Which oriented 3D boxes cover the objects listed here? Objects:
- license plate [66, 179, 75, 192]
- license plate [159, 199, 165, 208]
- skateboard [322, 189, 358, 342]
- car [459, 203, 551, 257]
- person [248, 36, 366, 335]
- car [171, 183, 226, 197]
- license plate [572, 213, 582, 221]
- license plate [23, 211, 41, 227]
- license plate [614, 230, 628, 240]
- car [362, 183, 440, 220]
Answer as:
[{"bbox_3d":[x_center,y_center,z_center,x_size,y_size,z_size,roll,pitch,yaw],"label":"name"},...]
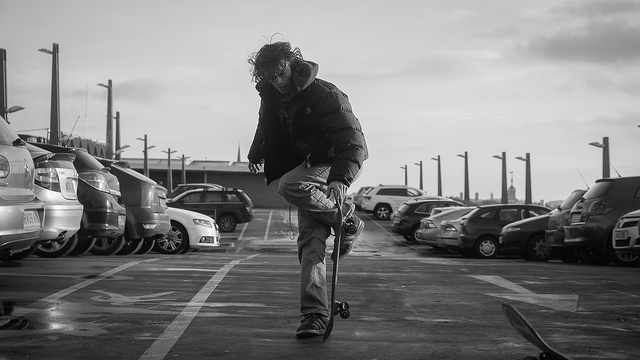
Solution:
[{"bbox_3d":[-4.082,0.093,11.428,0.031,0.208,0.200,2,-2,13],"label":"license plate"},{"bbox_3d":[-3.615,0.544,16.061,0.051,0.143,0.186,1,0,13],"label":"license plate"},{"bbox_3d":[0.326,1.009,7.946,0.332,1.509,0.406,4,-3,-5],"label":"skateboard"},{"bbox_3d":[5.302,1.366,20.331,2.746,0.807,1.386,-3,0,-6],"label":"car"},{"bbox_3d":[-0.147,0.080,7.968,1.325,3.251,0.520,3,-3,4],"label":"person"},{"bbox_3d":[-7.096,0.547,41.099,2.266,0.586,0.911,-2,1,-1],"label":"car"},{"bbox_3d":[5.657,0.808,15.308,0.178,0.136,0.040,-1,-14,31],"label":"license plate"},{"bbox_3d":[-3.983,0.538,9.655,0.059,0.159,0.212,-7,-5,32],"label":"license plate"},{"bbox_3d":[5.942,1.073,13.688,0.065,0.194,0.311,4,-3,-17],"label":"license plate"},{"bbox_3d":[5.970,1.305,42.952,5.996,1.865,2.328,-2,1,-4],"label":"car"}]
